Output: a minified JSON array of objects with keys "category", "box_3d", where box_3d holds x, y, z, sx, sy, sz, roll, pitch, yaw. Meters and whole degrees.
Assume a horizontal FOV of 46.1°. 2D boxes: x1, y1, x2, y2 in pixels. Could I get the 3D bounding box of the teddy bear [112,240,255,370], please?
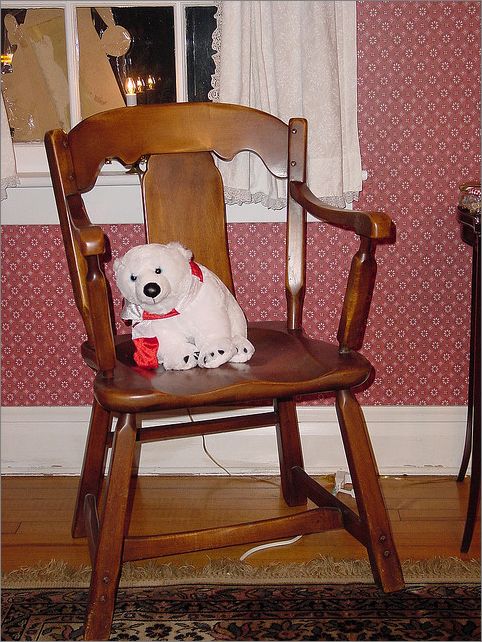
[{"category":"teddy bear","box_3d":[-0.090,-0.032,0.988,0.239,0.208,0.188,-5,10,-21]}]
